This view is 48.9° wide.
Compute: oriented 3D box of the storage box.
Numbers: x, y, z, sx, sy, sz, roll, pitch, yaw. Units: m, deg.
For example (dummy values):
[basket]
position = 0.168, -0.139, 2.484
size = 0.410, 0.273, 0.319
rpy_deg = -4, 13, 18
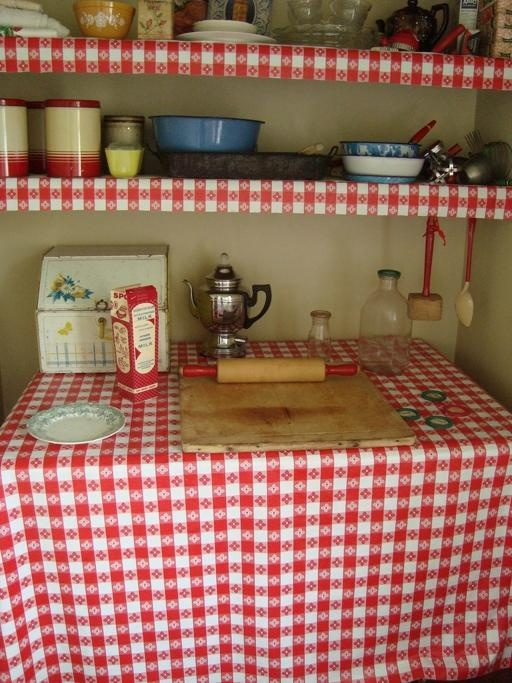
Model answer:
[storage box]
position = -0.370, -0.093, 1.595
size = 0.415, 0.341, 0.313
rpy_deg = 1, 33, -4

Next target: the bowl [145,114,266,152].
[bowl]
position = -0.118, -0.476, 1.305
size = 0.154, 0.047, 0.148
rpy_deg = 3, 11, -1

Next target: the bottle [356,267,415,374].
[bottle]
position = 0.375, -0.057, 1.629
size = 0.193, 0.321, 0.181
rpy_deg = -1, 31, 1

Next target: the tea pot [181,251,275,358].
[tea pot]
position = -0.092, -0.120, 1.662
size = 0.303, 0.302, 0.173
rpy_deg = -2, 24, -5

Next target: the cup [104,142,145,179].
[cup]
position = -0.300, -0.413, 1.277
size = 0.093, 0.069, 0.087
rpy_deg = 0, 10, 0
